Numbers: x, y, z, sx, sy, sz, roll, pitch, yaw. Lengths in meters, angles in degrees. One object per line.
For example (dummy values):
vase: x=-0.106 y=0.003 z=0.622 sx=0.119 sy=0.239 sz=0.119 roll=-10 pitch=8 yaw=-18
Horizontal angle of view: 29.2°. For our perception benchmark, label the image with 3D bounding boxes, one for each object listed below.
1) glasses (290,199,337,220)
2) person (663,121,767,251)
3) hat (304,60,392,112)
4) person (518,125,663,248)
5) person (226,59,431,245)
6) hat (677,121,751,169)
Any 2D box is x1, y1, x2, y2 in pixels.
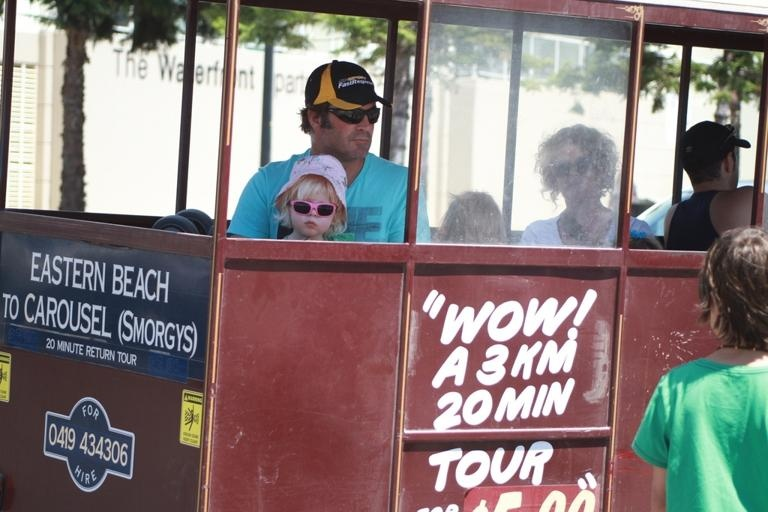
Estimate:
glasses: x=-0.431 y=-0.292 z=9.013 sx=0.266 sy=0.097 sz=0.043 roll=1 pitch=3 yaw=-6
person: x=2.215 y=-0.459 z=9.809 sx=0.430 sy=0.806 sz=0.733 roll=-2 pitch=-4 yaw=-44
hat: x=-0.264 y=-1.067 z=9.278 sx=0.369 sy=0.253 sz=0.289 roll=3 pitch=8 yaw=36
person: x=1.209 y=-0.464 z=9.191 sx=0.717 sy=0.820 sz=0.472 roll=-4 pitch=12 yaw=12
person: x=-0.325 y=-0.616 z=9.353 sx=1.179 sy=1.343 sz=0.756 roll=4 pitch=-10 yaw=-8
hat: x=2.255 y=-0.836 z=10.198 sx=0.359 sy=0.229 sz=0.274 roll=-26 pitch=14 yaw=-19
